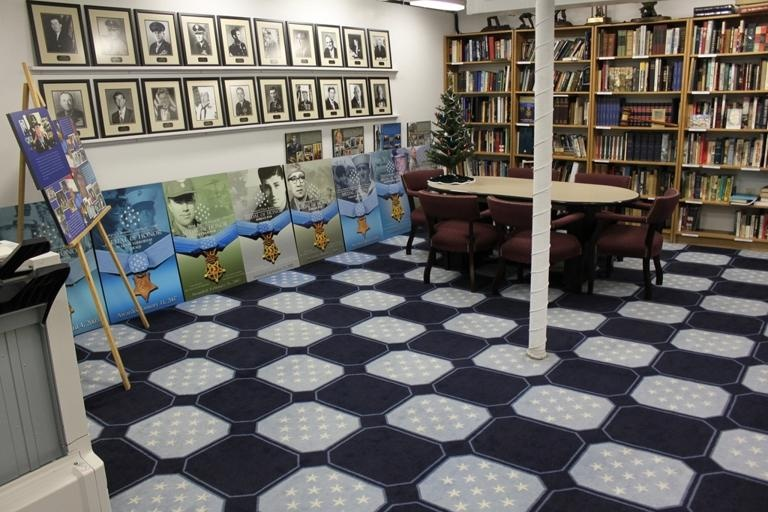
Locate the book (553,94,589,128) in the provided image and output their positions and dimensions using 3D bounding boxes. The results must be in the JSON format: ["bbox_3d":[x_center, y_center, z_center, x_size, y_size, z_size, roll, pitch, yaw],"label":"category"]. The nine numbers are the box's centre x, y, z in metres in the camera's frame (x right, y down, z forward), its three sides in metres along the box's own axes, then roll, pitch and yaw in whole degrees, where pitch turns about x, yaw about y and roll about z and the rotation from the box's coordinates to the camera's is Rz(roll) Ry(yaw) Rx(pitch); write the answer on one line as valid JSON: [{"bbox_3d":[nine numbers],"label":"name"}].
[{"bbox_3d":[2.950,-2.257,7.851,0.554,0.560,0.672,1,5,12],"label":"book"}]

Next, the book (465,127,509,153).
[{"bbox_3d":[1.926,-2.031,8.706,0.811,0.625,0.565,7,16,32],"label":"book"}]

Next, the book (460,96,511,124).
[{"bbox_3d":[1.727,-2.554,8.400,0.267,0.458,0.892,-21,26,-38],"label":"book"}]

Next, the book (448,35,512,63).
[{"bbox_3d":[1.649,-3.567,8.289,1.138,0.448,0.339,14,27,41],"label":"book"}]

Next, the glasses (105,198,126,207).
[{"bbox_3d":[-2.817,-0.573,5.129,0.042,0.119,0.197,13,24,37],"label":"glasses"}]
